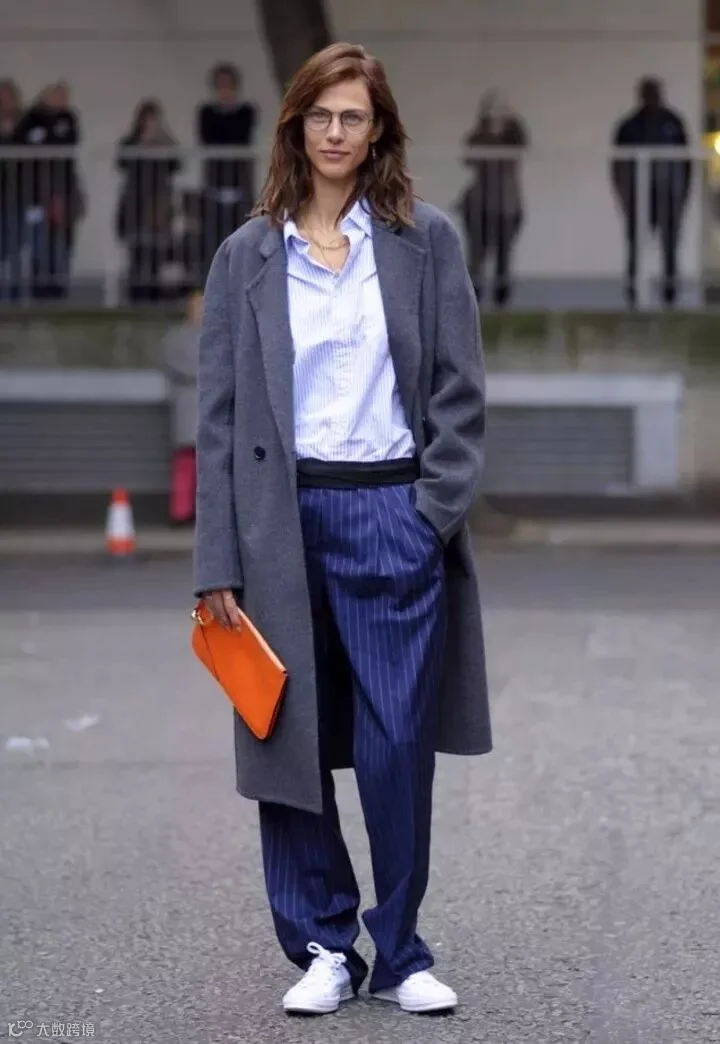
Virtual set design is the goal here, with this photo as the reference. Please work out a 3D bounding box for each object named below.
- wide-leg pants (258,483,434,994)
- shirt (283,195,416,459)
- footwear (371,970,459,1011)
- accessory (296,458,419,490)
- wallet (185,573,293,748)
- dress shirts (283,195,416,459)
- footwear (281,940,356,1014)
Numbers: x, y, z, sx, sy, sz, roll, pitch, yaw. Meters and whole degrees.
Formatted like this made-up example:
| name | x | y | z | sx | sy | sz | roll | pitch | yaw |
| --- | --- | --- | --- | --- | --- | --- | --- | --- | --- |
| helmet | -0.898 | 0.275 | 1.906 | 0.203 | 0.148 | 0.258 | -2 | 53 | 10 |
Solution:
| name | x | y | z | sx | sy | sz | roll | pitch | yaw |
| --- | --- | --- | --- | --- | --- | --- | --- | --- | --- |
| wide-leg pants | -0.015 | 0.402 | 2.424 | 0.346 | 0.952 | 0.247 | 1 | 5 | 14 |
| shirt | -0.024 | -0.339 | 2.342 | 0.209 | 0.453 | 0.136 | -1 | 5 | -5 |
| footwear | 0.103 | 0.853 | 2.385 | 0.144 | 0.060 | 0.057 | -8 | -12 | 38 |
| accessory | 0.004 | -0.088 | 2.325 | 0.221 | 0.053 | 0.061 | -3 | 6 | -25 |
| wallet | -0.174 | 0.246 | 2.429 | 0.060 | 0.190 | 0.250 | -5 | 45 | -44 |
| dress shirts | -0.024 | -0.339 | 2.342 | 0.209 | 0.453 | 0.136 | -1 | 5 | -5 |
| footwear | -0.066 | 0.849 | 2.428 | 0.063 | 0.088 | 0.186 | 1 | -5 | 19 |
